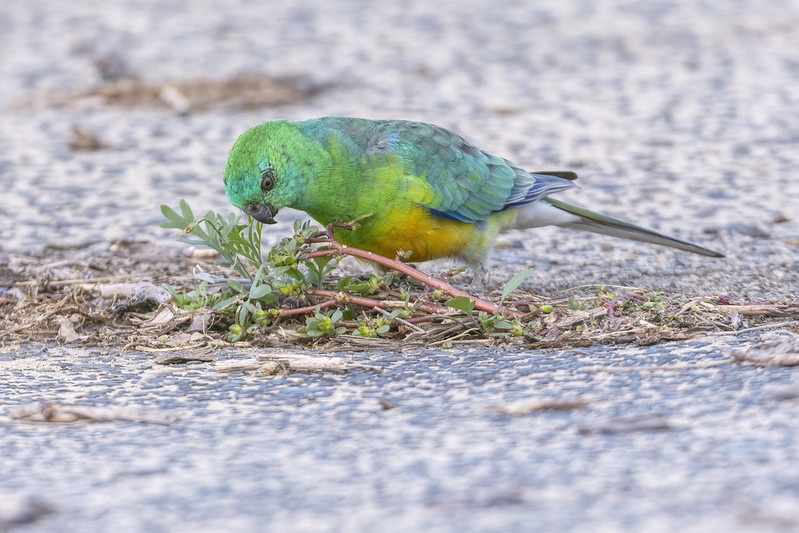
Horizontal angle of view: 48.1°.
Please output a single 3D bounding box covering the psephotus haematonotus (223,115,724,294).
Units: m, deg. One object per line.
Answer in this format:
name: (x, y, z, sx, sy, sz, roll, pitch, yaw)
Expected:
psephotus haematonotus: (0.177, -0.434, 5.322, 2.295, 0.990, 0.903, 10, 61, -1)
